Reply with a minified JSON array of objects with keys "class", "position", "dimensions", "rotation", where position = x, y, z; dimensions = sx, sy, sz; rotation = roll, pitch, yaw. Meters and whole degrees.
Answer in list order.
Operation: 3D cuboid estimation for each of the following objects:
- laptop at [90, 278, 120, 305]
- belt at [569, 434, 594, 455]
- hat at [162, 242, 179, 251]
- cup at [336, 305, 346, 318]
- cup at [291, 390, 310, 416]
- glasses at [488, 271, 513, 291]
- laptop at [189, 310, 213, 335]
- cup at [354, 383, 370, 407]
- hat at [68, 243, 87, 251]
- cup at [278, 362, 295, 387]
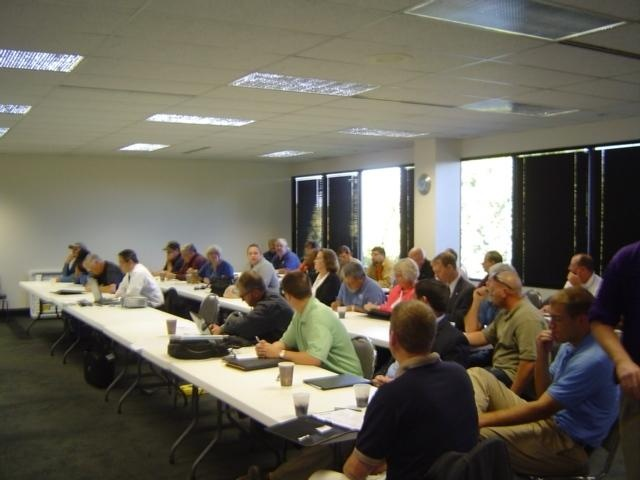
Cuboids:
[{"class":"laptop","position":[-2.779,0.685,6.199],"dimensions":[0.345,0.323,0.491],"rotation":[1,-1,-39]},{"class":"belt","position":[1.431,1.127,2.673],"dimensions":[0.103,0.049,0.139],"rotation":[3,2,-38]},{"class":"hat","position":[-2.741,0.106,8.906],"dimensions":[0.226,0.122,0.165],"rotation":[5,-5,-15]},{"class":"cup","position":[0.227,0.763,5.115],"dimensions":[0.101,0.111,0.103],"rotation":[-1,-7,0]},{"class":"cup","position":[-0.096,0.825,2.453],"dimensions":[0.104,0.119,0.108],"rotation":[-1,-6,0]},{"class":"glasses","position":[1.358,0.304,3.592],"dimensions":[0.129,0.134,0.098],"rotation":[2,-4,6]},{"class":"laptop","position":[-1.135,0.791,4.622],"dimensions":[0.023,0.227,0.295],"rotation":[-31,46,-21]},{"class":"cup","position":[0.222,0.822,2.576],"dimensions":[0.105,0.112,0.105],"rotation":[0,-8,0]},{"class":"hat","position":[-4.379,0.119,8.686],"dimensions":[0.142,0.076,0.225],"rotation":[-5,-9,25]},{"class":"cup","position":[-0.224,0.819,2.944],"dimensions":[0.123,0.133,0.125],"rotation":[0,-7,0]}]
